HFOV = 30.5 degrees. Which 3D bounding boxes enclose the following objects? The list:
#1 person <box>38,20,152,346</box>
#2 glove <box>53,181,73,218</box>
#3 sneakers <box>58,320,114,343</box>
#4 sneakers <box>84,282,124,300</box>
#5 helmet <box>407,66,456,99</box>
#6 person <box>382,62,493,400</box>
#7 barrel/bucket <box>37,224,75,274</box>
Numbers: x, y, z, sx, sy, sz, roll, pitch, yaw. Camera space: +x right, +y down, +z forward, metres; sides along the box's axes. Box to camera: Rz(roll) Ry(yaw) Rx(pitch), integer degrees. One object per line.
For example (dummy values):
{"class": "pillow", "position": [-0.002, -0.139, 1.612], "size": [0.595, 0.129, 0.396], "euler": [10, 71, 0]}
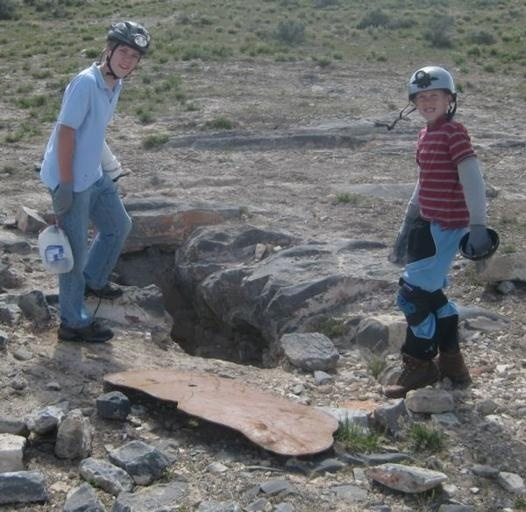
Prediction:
{"class": "person", "position": [-1.352, -0.579, 7.819], "size": [0.712, 2.615, 0.786], "euler": [7, 12, 14]}
{"class": "glove", "position": [-1.551, -0.442, 7.508], "size": [0.178, 0.225, 0.067], "euler": [10, 23, -25]}
{"class": "sneakers", "position": [-1.450, 0.632, 8.011], "size": [0.462, 0.196, 0.165], "euler": [1, 13, -19]}
{"class": "sneakers", "position": [-1.382, 0.315, 8.432], "size": [0.340, 0.155, 0.126], "euler": [-1, 27, -8]}
{"class": "helmet", "position": [1.312, -1.327, 7.368], "size": [0.231, 0.241, 0.291], "euler": [10, 33, 29]}
{"class": "person", "position": [1.412, -0.155, 7.496], "size": [0.740, 2.579, 0.647], "euler": [6, 12, 13]}
{"class": "barrel/bucket", "position": [-1.633, -0.054, 7.668], "size": [0.280, 0.395, 0.218], "euler": [-6, 7, -14]}
